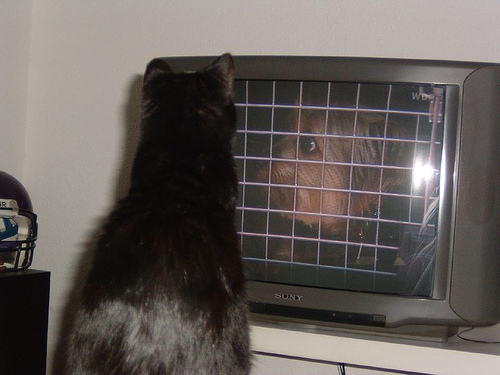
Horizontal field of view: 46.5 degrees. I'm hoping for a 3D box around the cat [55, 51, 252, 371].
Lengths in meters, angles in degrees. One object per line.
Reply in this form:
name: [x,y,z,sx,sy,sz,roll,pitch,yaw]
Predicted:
cat: [-0.232,-0.036,1.788,0.372,1.049,0.516,3,-8,15]
